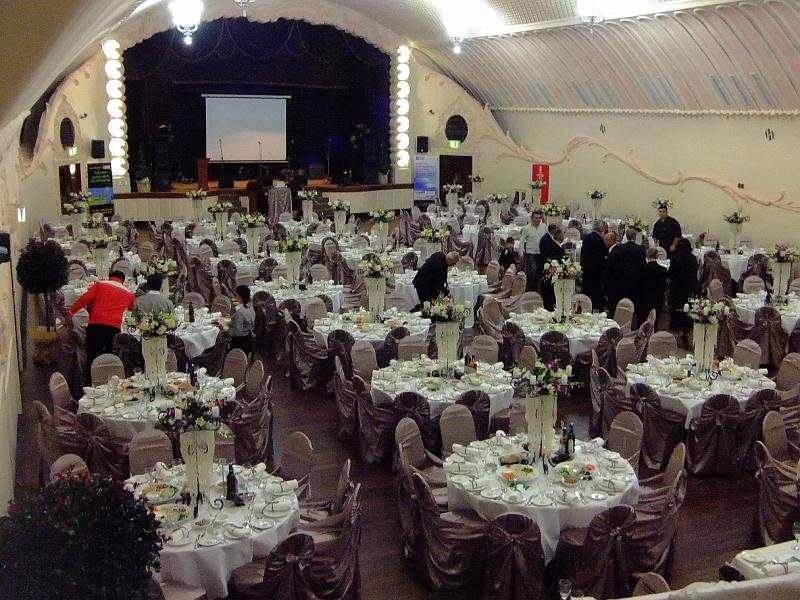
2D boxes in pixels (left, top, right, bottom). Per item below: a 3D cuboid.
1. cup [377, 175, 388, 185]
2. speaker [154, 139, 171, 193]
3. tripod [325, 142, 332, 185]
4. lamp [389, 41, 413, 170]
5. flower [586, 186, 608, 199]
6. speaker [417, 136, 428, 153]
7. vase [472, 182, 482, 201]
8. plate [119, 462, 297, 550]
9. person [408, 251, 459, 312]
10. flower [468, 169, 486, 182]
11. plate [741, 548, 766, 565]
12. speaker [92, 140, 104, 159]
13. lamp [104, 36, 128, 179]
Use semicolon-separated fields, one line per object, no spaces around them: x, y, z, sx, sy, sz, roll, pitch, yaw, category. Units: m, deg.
-0.686;-4.764;25.408;0.302;0.411;0.559;-1;2;5;cup
-7.858;-4.398;21.443;0.415;1.621;0.537;-2;2;-28;speaker
-3.076;-6.076;27.718;0.260;1.660;0.778;-1;2;-6;tripod
0.019;-7.266;25.442;0.835;5.146;1.056;-1;2;0;lamp
5.749;-3.131;19.134;0.522;0.381;0.573;-2;6;-13;flower
0.835;-6.131;25.537;0.434;0.744;0.366;0;16;-4;speaker
2.947;-4.222;25.000;0.363;0.648;0.400;-1;2;7;vase
-1.490;1.617;5.387;1.236;0.442;0.990;-2;2;-12;plate
0.530;-0.279;10.333;0.397;0.409;0.974;-15;-21;-12;person
2.960;-4.761;24.998;0.440;0.438;0.531;2;9;-9;flower
2.569;1.862;4.725;0.213;0.032;0.152;-3;3;-33;plate
-9.616;-4.816;20.680;0.406;0.570;0.473;0;2;36;speaker
-9.174;-6.020;20.875;0.624;4.303;1.072;-2;2;-25;lamp
